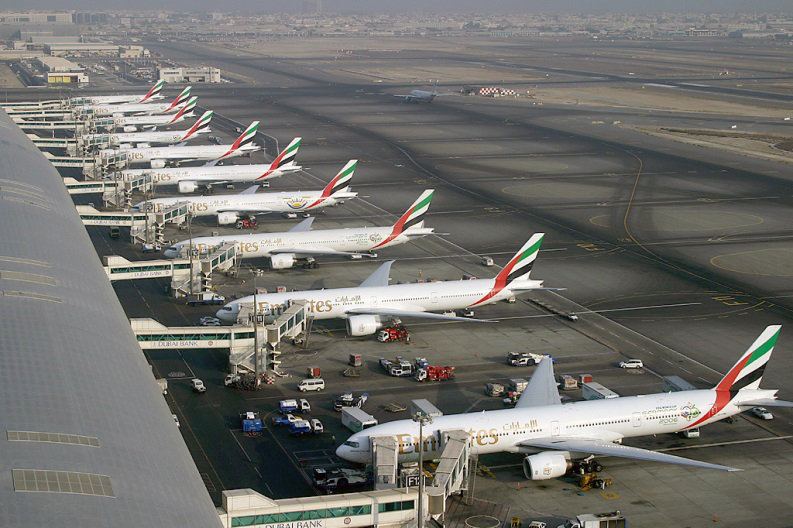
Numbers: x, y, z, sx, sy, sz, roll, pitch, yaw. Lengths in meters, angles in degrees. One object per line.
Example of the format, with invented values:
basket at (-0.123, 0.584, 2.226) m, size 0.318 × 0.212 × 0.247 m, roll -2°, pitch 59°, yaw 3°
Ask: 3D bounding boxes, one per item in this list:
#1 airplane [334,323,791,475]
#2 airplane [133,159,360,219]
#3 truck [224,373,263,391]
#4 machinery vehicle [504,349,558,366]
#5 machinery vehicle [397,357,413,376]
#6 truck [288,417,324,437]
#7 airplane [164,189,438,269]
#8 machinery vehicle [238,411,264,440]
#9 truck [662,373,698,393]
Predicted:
airplane at (11.888, 8.925, 54.730) m, size 27.804 × 9.087 × 8.400 m, roll 0°, pitch 18°, yaw -5°
airplane at (-18.538, -7.796, 104.749) m, size 29.061 × 3.442 × 17.367 m, roll -8°, pitch 10°, yaw -25°
truck at (-11.606, 8.936, 64.129) m, size 2.990 × 0.504 × 1.566 m, roll 1°, pitch 1°, yaw 6°
machinery vehicle at (10.551, 7.607, 67.927) m, size 3.067 × 0.460 × 1.389 m, roll -2°, pitch 12°, yaw -6°
machinery vehicle at (0.458, 8.164, 66.687) m, size 1.942 × 1.036 × 2.360 m, roll 0°, pitch 2°, yaw -9°
truck at (-6.279, 11.182, 58.052) m, size 2.747 × 0.583 × 1.160 m, roll -1°, pitch 12°, yaw -10°
airplane at (-7.943, -0.795, 89.840) m, size 23.945 × 3.279 × 12.614 m, roll -2°, pitch 9°, yaw -13°
machinery vehicle at (-10.105, 11.039, 58.711) m, size 1.687 × 0.634 × 2.146 m, roll -1°, pitch 7°, yaw -16°
truck at (20.873, 8.841, 62.668) m, size 1.645 × 0.929 × 2.833 m, roll -4°, pitch 12°, yaw -15°
